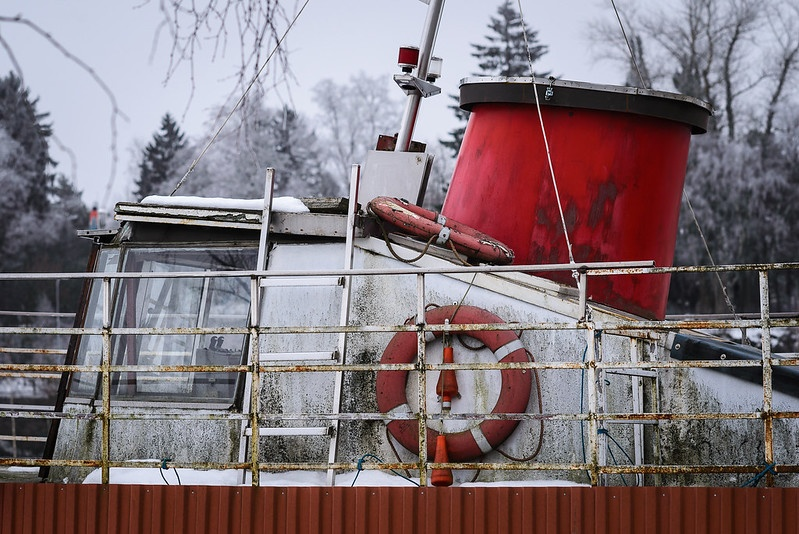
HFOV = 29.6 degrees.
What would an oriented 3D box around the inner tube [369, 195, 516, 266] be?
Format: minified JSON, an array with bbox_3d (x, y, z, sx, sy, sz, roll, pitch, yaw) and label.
[{"bbox_3d":[0.607,-0.510,23.142,1.531,0.387,1.174,26,-6,-5],"label":"inner tube"}]
